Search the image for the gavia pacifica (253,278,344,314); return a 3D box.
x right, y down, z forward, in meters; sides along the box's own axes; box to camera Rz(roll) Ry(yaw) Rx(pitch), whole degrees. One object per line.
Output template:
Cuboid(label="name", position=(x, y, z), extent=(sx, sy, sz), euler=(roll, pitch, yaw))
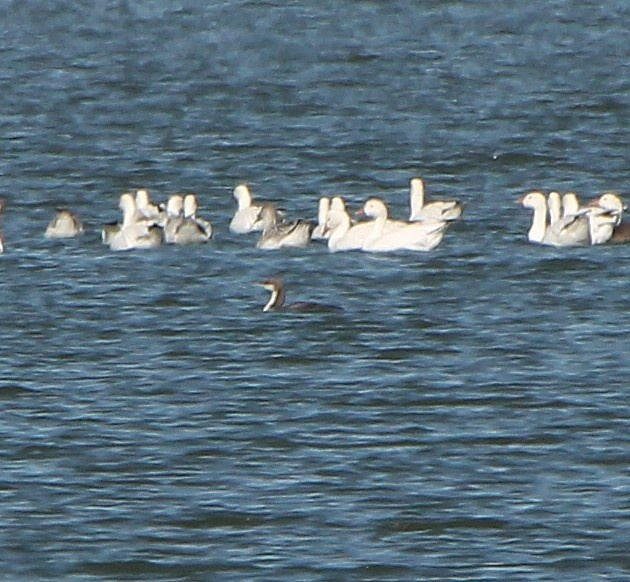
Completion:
Cuboid(label="gavia pacifica", position=(-0.283, 0.147, 25.441), extent=(1.305, 0.406, 0.529), euler=(6, 57, -5))
